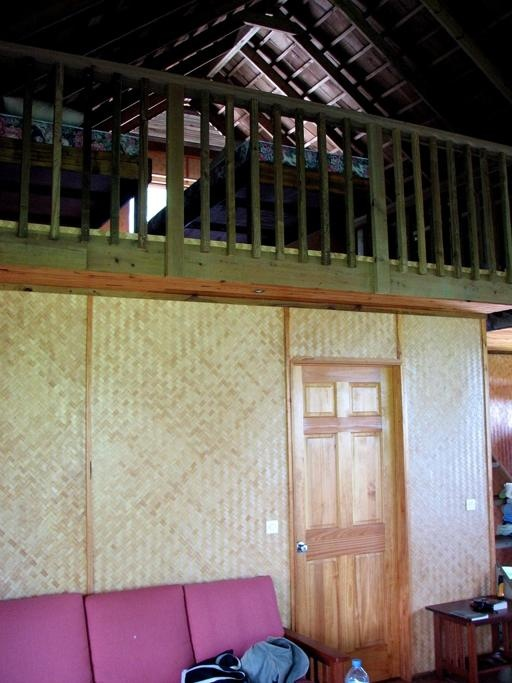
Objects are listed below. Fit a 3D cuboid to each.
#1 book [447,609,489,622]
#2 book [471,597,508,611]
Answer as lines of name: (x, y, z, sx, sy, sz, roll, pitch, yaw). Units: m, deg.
book: (1.399, 1.787, 4.168, 0.213, 0.041, 0.208, 3, -15, -28)
book: (1.565, 1.778, 4.303, 0.263, 0.069, 0.165, 4, -16, -33)
